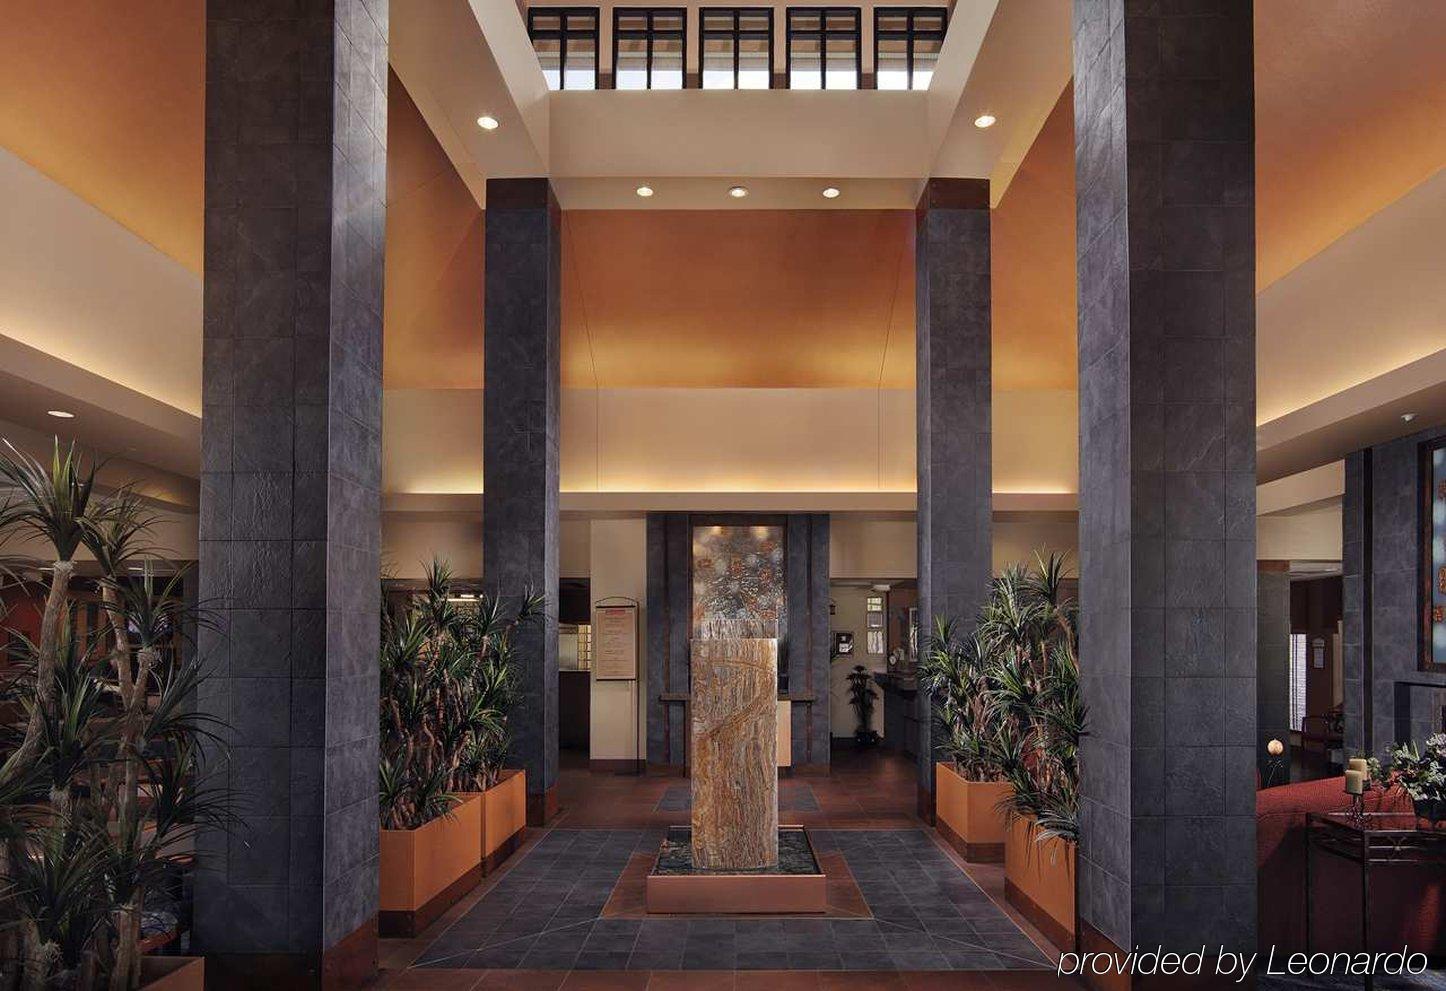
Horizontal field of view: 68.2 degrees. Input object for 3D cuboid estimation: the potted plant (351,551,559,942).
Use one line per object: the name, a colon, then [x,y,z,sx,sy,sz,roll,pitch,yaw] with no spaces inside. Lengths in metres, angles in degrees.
potted plant: [-2.452,2.061,10.124,1.073,2.844,3.767,0,-2,-6]

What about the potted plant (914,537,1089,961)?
potted plant: [2.446,2.331,9.551,1.662,2.988,3.146,-1,-1,-2]
